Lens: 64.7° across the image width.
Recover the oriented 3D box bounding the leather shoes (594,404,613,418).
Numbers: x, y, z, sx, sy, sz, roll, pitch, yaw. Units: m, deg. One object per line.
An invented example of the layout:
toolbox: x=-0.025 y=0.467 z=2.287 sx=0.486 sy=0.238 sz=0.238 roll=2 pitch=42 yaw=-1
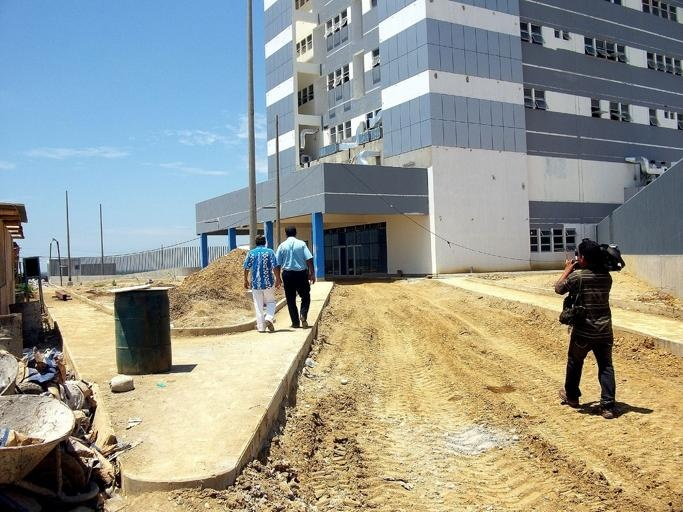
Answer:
leather shoes: x=4.025 y=2.384 z=8.259 sx=0.095 sy=0.145 sz=0.298 roll=-1 pitch=-9 yaw=-1

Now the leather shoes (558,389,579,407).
leather shoes: x=3.715 y=2.331 z=8.858 sx=0.143 sy=0.165 sz=0.386 roll=-2 pitch=13 yaw=-5

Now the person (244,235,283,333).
person: x=-1.810 y=0.628 z=12.442 sx=0.738 sy=2.168 sz=1.455 roll=-3 pitch=0 yaw=-7

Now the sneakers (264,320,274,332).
sneakers: x=-1.625 y=1.587 z=12.212 sx=0.114 sy=0.325 sz=0.127 roll=-10 pitch=42 yaw=5

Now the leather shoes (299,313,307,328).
leather shoes: x=-0.886 y=1.510 z=12.662 sx=0.132 sy=0.353 sz=0.144 roll=-3 pitch=30 yaw=0

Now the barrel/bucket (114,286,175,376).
barrel/bucket: x=-3.238 y=1.210 z=8.811 sx=0.825 sy=1.478 sz=0.437 roll=-3 pitch=0 yaw=-24

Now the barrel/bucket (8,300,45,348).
barrel/bucket: x=-8.857 y=1.903 z=15.287 sx=0.681 sy=1.366 sz=0.760 roll=-3 pitch=0 yaw=-34

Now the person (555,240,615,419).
person: x=3.844 y=1.090 z=8.528 sx=0.781 sy=2.635 sz=0.692 roll=-3 pitch=0 yaw=30
